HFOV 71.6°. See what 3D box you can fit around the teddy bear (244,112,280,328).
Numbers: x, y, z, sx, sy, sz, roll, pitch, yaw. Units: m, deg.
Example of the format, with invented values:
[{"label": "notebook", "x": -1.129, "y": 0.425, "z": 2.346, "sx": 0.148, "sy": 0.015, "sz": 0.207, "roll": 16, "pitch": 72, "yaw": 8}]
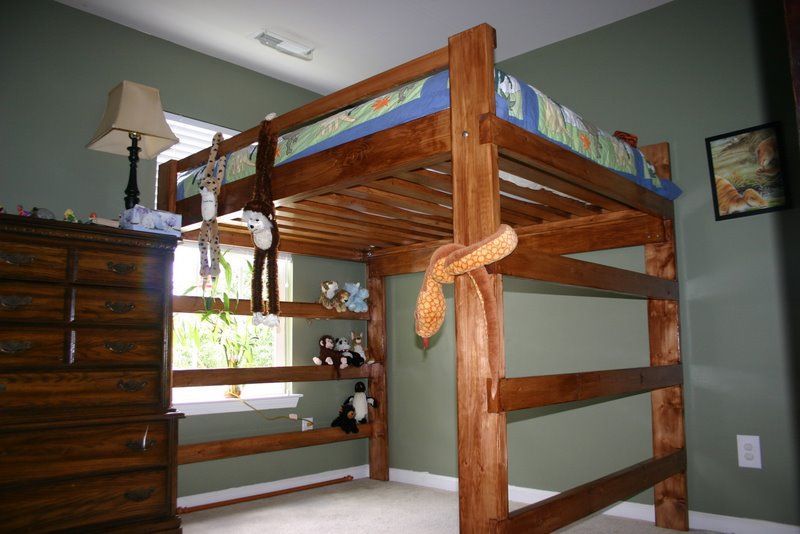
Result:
[{"label": "teddy bear", "x": -0.845, "y": -0.287, "z": 3.389, "sx": 0.211, "sy": 1.265, "sz": 0.262, "roll": 1, "pitch": -6, "yaw": -11}]
